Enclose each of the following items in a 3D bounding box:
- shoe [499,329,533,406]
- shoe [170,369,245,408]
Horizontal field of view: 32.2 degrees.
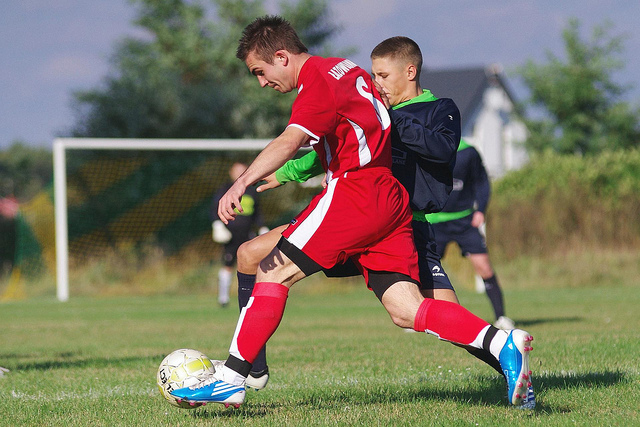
[{"bbox_3d":[1.863,1.470,10.608,0.300,0.725,0.185,1,-3,9],"label":"shoe"},{"bbox_3d":[-1.025,1.697,10.790,0.797,0.462,0.282,5,-5,-1],"label":"shoe"}]
